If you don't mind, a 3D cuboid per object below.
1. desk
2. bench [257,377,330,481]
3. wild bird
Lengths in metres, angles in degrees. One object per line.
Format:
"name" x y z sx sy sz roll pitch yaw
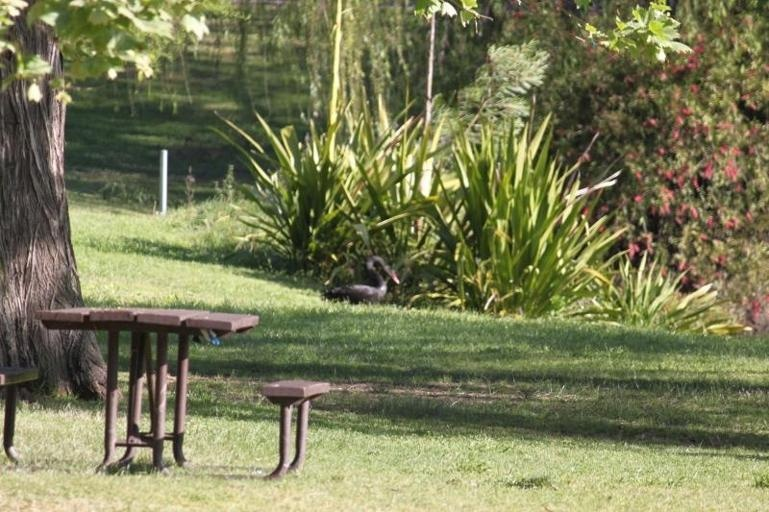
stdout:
"desk" -2.695 1.498 21.906 2.288 1.813 1.217 3 5 16
"bench" -0.986 1.936 21.710 0.775 0.922 0.766 2 -7 1
"wild bird" -0.184 0.372 26.792 0.780 0.700 1.227 10 11 26
